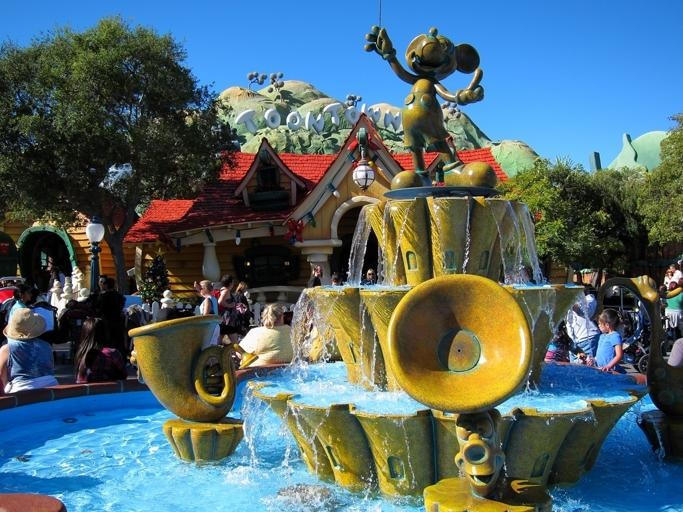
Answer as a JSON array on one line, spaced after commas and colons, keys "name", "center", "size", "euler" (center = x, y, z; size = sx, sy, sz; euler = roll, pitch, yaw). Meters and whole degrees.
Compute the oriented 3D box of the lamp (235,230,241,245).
[{"name": "lamp", "center": [-3.118, -0.597, 20.298], "size": [0.164, 0.414, 0.415], "euler": [-1, 6, -9]}]
